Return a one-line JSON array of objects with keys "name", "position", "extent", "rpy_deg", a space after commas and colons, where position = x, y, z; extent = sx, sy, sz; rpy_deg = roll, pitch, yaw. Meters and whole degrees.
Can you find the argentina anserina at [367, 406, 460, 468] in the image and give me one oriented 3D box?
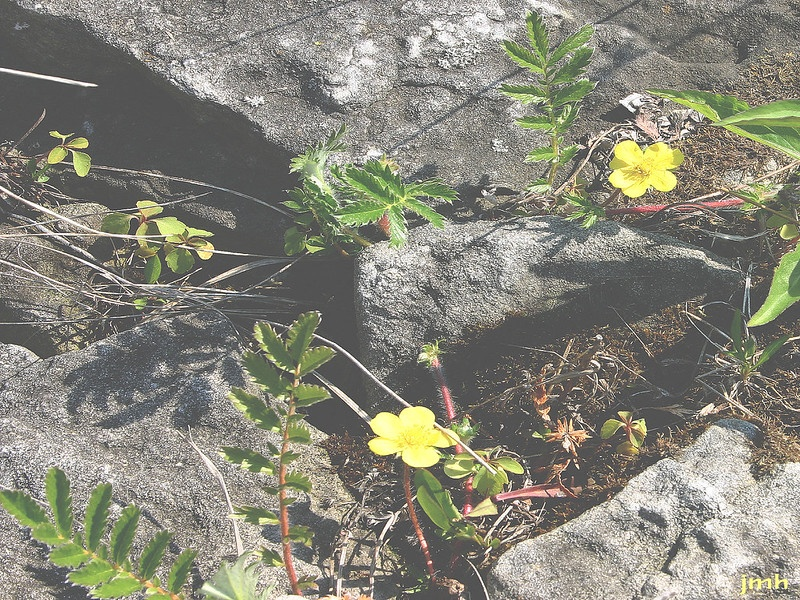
[{"name": "argentina anserina", "position": [0.058, 0.742, 5.509], "extent": [0.440, 0.167, 0.318], "rpy_deg": [20, 78, 5]}]
